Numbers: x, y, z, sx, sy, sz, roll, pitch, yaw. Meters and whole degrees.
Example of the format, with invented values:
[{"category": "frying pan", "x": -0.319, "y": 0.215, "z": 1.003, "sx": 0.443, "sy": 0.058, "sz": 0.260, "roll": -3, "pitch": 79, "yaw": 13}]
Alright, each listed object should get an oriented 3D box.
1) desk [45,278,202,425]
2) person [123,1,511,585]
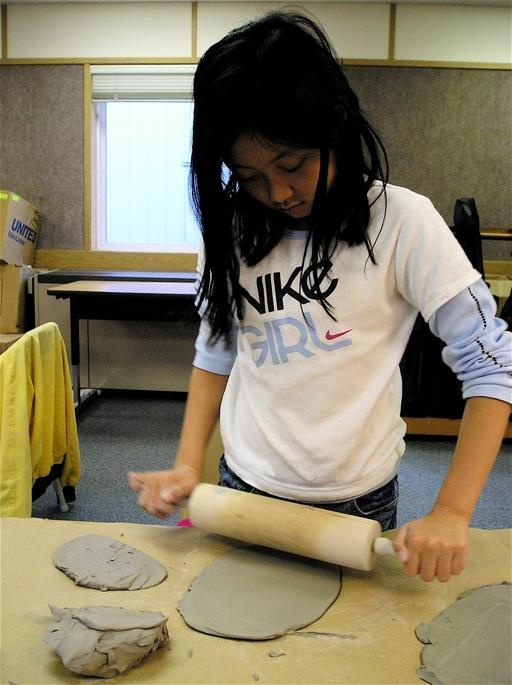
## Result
[{"category": "desk", "x": -0.700, "y": 0.008, "z": 3.659, "sx": 0.819, "sy": 0.683, "sz": 0.603, "roll": -1, "pitch": 4, "yaw": -3}, {"category": "person", "x": 0.092, "y": -0.058, "z": 0.935, "sx": 0.574, "sy": 0.801, "sz": 0.317, "roll": 6, "pitch": 12, "yaw": 22}]
